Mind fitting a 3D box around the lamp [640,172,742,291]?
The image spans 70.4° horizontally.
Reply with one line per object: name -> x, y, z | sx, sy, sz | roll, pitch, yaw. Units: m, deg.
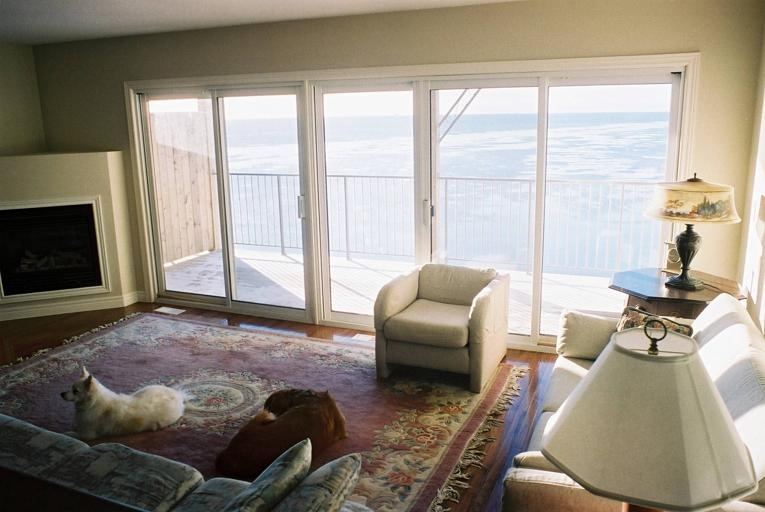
lamp -> 2.244, -0.175, 3.926 | 0.966, 0.664, 0.859 | 5, 3, 17

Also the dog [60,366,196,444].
dog -> -1.738, 1.040, 4.051 | 1.219, 0.519, 0.387 | 1, 10, -24

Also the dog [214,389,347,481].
dog -> -0.633, 1.123, 3.598 | 0.566, 0.295, 0.768 | 6, 17, 29
